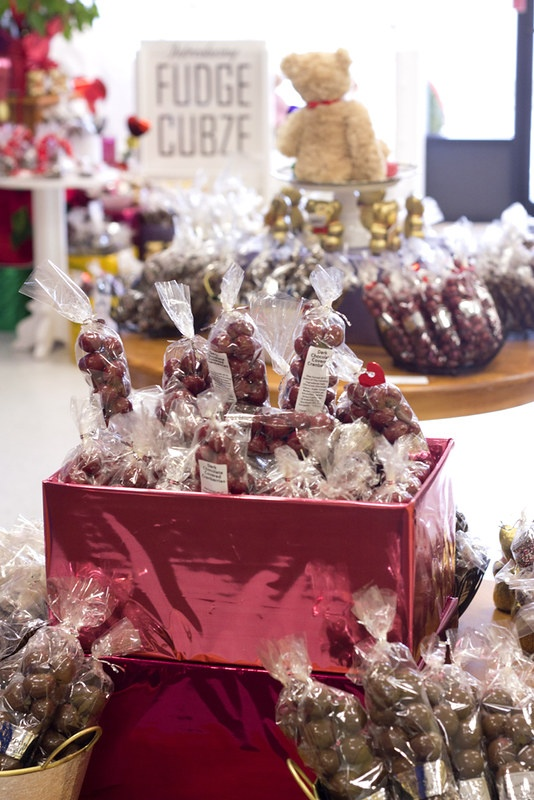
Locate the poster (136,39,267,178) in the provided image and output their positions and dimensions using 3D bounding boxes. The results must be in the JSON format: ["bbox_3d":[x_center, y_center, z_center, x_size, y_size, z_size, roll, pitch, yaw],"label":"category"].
[{"bbox_3d":[-0.151,-0.650,1.605,0.071,0.266,0.306,13,14,32],"label":"poster"}]

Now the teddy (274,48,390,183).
[{"bbox_3d":[0.136,-0.554,1.384,0.227,0.243,0.161,14,36,27],"label":"teddy"}]

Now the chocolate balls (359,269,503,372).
[{"bbox_3d":[0.344,-0.184,1.452,0.235,0.129,0.242,0,12,0],"label":"chocolate balls"}]

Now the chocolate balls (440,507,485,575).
[{"bbox_3d":[0.261,0.191,0.927,0.027,0.081,0.057,-25,43,15],"label":"chocolate balls"}]
